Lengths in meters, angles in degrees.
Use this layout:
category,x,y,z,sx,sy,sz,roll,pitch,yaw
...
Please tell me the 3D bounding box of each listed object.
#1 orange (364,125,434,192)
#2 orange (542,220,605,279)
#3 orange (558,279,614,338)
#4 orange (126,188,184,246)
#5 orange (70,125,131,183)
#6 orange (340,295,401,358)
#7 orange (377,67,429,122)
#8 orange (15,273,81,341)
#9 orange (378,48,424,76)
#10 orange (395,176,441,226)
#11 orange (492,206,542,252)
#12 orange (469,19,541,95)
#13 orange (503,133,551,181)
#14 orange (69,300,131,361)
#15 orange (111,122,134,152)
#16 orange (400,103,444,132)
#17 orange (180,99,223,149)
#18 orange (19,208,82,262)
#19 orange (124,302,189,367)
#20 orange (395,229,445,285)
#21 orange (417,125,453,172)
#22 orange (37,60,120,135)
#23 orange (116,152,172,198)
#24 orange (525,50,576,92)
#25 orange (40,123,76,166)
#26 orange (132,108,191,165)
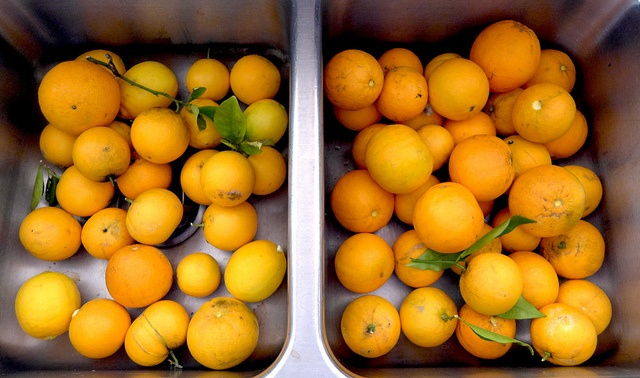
category,x,y,z,sx,sy,sz,roll,pitch,yaw
orange,0.218,-0.082,1.621,0.158,0.134,0.187,-32,62,-20
orange,0.758,0.187,1.765,0.170,0.166,0.166,-15,95,-5
orange,0.792,0.322,1.711,0.149,0.162,0.164,12,21,35
orange,-0.493,0.085,1.735,0.166,0.128,0.158,-39,102,-10
orange,-0.632,-0.106,1.638,0.159,0.155,0.152,-5,98,-33
orange,0.144,0.392,1.684,0.169,0.153,0.167,-37,87,3
orange,0.223,-0.288,1.745,0.153,0.149,0.174,15,18,-16
orange,-0.817,0.337,1.744,0.168,0.154,0.199,22,52,-20
orange,0.243,-0.401,1.776,0.100,0.098,0.116,1,31,-21
orange,0.282,0.030,1.624,0.092,0.107,0.090,19,98,-27
orange,0.588,0.130,1.765,0.135,0.135,0.154,2,100,7
orange,0.523,-0.414,1.803,0.217,0.246,0.206,2,43,1
orange,0.619,-0.104,1.697,0.120,0.145,0.125,-4,60,19
orange,-0.648,0.406,1.660,0.168,0.095,0.150,-31,62,-20
orange,-0.591,-0.152,1.679,0.082,0.070,0.071,19,100,33
orange,0.320,-0.213,1.728,0.084,0.083,0.098,-2,87,3
orange,-0.360,-0.189,1.702,0.135,0.137,0.157,-7,91,5
orange,-0.807,0.138,1.692,0.194,0.164,0.163,6,22,-22
orange,-0.473,0.423,1.633,0.161,0.123,0.119,42,104,12
orange,0.286,0.190,1.666,0.162,0.155,0.159,2,87,10
orange,0.351,-0.128,1.749,0.123,0.141,0.121,1,16,16
orange,-0.715,-0.268,1.691,0.217,0.164,0.171,-1,56,-1
orange,-0.523,-0.036,1.710,0.125,0.124,0.121,-10,89,5
orange,0.734,-0.373,1.825,0.133,0.129,0.131,11,19,12
orange,-0.796,-0.137,1.717,0.088,0.102,0.087,12,40,5
orange,-0.467,-0.152,1.633,0.157,0.167,0.162,-1,90,-33
